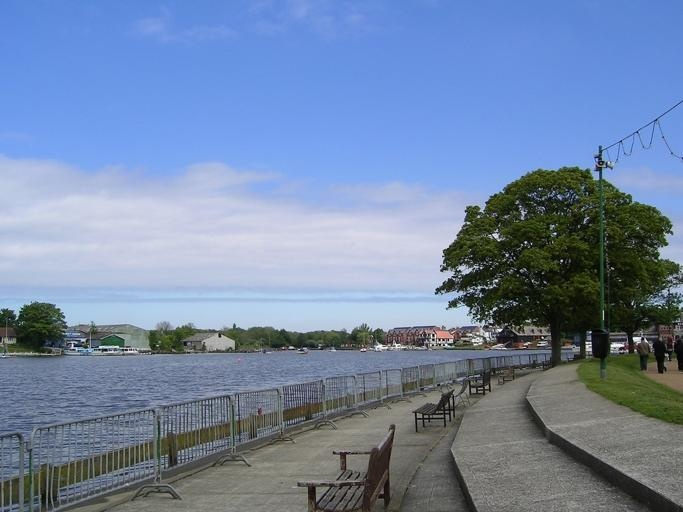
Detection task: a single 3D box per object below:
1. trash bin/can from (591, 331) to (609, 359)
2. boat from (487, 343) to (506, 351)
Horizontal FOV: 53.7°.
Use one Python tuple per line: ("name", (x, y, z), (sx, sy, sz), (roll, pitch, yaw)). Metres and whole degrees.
("trash bin/can", (9.264, 3.109, 24.181), (0.514, 1.007, 0.817), (-4, -8, 17))
("boat", (52.761, 29.905, 227.162), (4.845, 2.324, 15.160), (-3, -8, 13))
